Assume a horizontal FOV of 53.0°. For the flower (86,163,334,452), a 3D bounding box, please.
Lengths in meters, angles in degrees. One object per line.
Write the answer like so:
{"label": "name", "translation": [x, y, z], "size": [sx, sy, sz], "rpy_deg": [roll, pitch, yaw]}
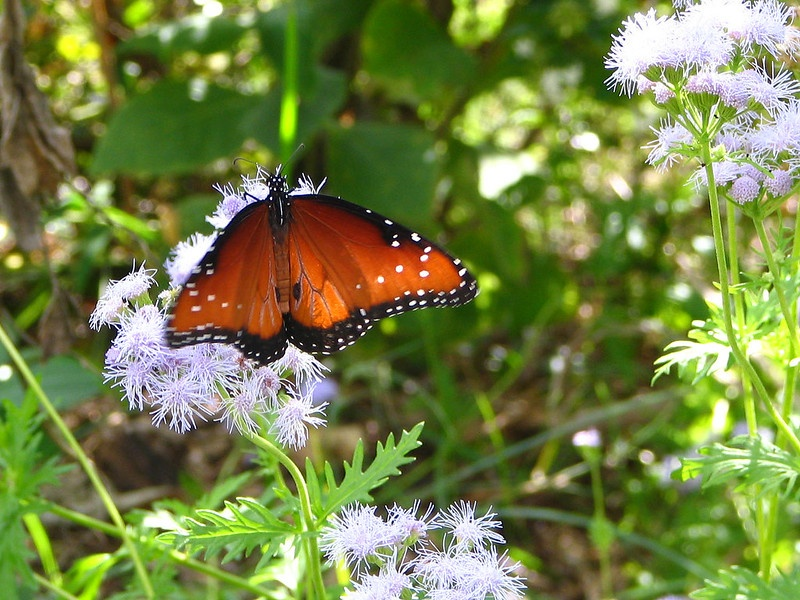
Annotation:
{"label": "flower", "translation": [-0.508, 0.128, 2.404], "size": [0.706, 0.761, 0.301], "rpy_deg": [10, -14, 3]}
